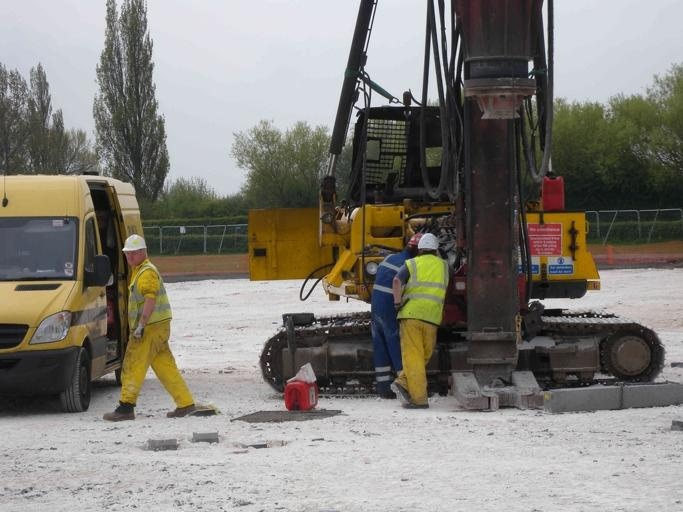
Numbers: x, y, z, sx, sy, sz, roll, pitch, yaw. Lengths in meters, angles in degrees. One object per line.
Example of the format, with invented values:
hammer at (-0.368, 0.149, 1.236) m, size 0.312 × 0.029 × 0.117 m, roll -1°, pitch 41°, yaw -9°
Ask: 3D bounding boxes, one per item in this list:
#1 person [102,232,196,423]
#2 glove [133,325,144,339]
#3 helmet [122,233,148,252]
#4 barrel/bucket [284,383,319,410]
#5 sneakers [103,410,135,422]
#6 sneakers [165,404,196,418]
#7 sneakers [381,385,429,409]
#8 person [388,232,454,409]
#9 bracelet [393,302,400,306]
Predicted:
person at (-2.556, 0.891, 14.880) m, size 1.053 × 2.324 × 0.590 m, roll -2°, pitch 3°, yaw -12°
glove at (-2.629, 0.950, 14.713) m, size 0.092 × 0.154 × 0.062 m, roll 9°, pitch -23°, yaw 7°
helmet at (-2.744, -0.183, 15.099) m, size 0.217 × 0.189 × 0.297 m, roll 2°, pitch -4°, yaw 7°
barrel/bucket at (-0.575, 1.810, 15.113) m, size 0.323 × 0.385 × 0.358 m, roll 1°, pitch 2°, yaw 16°
sneakers at (-2.888, 2.016, 14.631) m, size 0.365 × 0.185 × 0.148 m, roll 6°, pitch -6°, yaw -7°
sneakers at (-2.103, 1.991, 14.899) m, size 0.402 × 0.210 × 0.159 m, roll 0°, pitch -2°, yaw 7°
sneakers at (0.821, 1.837, 15.139) m, size 0.608 × 0.315 × 0.225 m, roll 2°, pitch -3°, yaw -5°
person at (1.010, 0.971, 15.178) m, size 0.722 × 1.963 × 0.546 m, roll -1°, pitch 3°, yaw 3°
bracelet at (0.721, 0.616, 15.204) m, size 0.047 × 0.047 × 0.057 m, roll 3°, pitch 4°, yaw 12°
